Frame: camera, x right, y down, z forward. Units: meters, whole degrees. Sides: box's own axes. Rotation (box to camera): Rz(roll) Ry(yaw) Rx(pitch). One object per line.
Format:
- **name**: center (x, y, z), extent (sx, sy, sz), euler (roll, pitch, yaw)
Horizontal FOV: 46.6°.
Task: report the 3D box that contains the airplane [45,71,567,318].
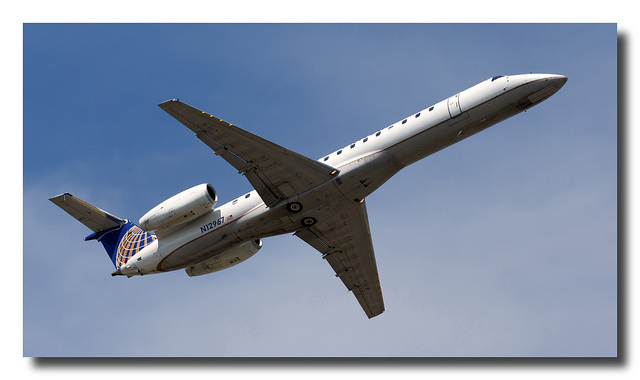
- **airplane**: center (0.003, -0.092, 24.635), extent (12.385, 2.686, 9.542), euler (-24, -33, 6)
